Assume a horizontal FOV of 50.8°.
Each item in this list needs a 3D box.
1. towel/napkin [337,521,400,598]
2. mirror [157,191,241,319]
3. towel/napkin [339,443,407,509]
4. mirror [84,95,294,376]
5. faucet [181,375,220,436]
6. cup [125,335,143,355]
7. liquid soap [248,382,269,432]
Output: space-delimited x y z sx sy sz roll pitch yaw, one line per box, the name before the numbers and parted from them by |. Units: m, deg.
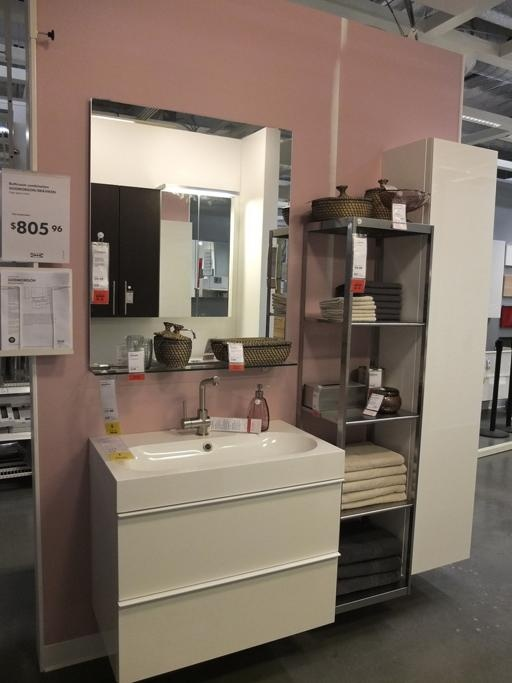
towel/napkin | 0.467 0.965 2.407 0.229 0.096 0.227 2 -4 -30
mirror | -0.271 -0.299 2.175 0.353 0.708 0.054 -6 46 -12
towel/napkin | 0.539 0.521 2.471 0.316 0.171 0.344 -1 30 11
mirror | -0.286 -0.419 2.074 1.031 1.425 0.055 -2 4 -32
faucet | -0.220 0.250 2.103 0.138 0.226 0.083 0 5 -8
cup | -0.444 0.007 2.004 0.071 0.057 0.057 -2 6 -36
liquid soap | 0.015 0.268 2.277 0.086 0.185 0.244 1 5 2
